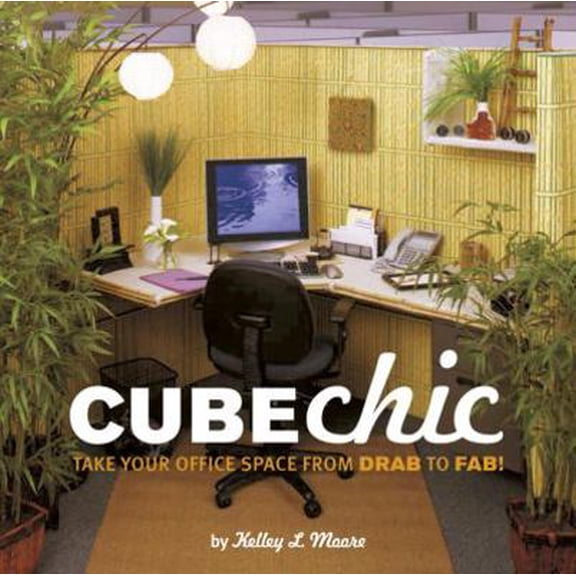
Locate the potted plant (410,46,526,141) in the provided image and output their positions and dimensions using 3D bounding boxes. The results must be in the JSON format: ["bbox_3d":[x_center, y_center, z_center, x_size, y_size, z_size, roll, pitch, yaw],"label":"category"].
[{"bbox_3d":[0.858,-0.918,2.825,0.633,0.534,0.490,4,10,28],"label":"potted plant"}]

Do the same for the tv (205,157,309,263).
[{"bbox_3d":[-0.179,-0.455,3.066,0.727,0.611,0.073,-1,4,-8],"label":"tv"}]

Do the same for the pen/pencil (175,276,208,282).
[{"bbox_3d":[-0.466,-0.043,2.636,0.178,0.021,0.022,0,-10,-5],"label":"pen/pencil"}]

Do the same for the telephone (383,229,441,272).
[{"bbox_3d":[0.676,-0.212,2.904,0.249,0.108,0.313,20,55,41],"label":"telephone"}]
